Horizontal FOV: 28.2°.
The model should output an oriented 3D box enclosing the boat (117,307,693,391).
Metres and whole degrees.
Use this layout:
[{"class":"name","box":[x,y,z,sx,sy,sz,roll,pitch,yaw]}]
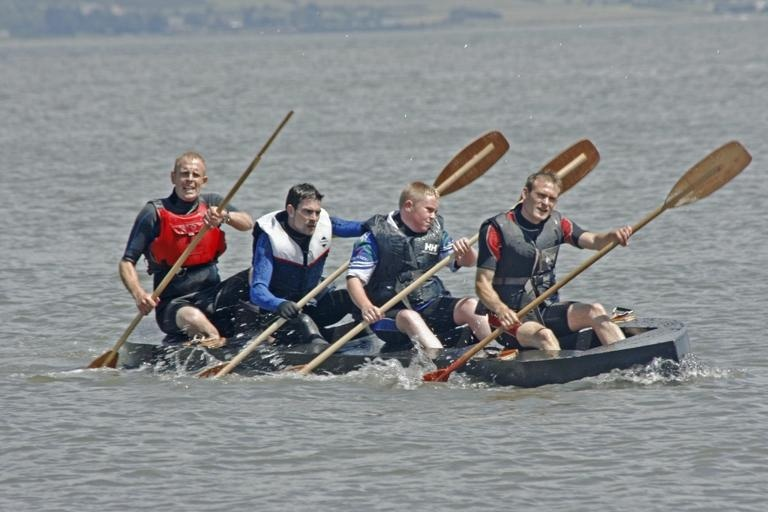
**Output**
[{"class":"boat","box":[0.875,1.370,20.600,8.645,0.790,2.148,-1,4,12]}]
